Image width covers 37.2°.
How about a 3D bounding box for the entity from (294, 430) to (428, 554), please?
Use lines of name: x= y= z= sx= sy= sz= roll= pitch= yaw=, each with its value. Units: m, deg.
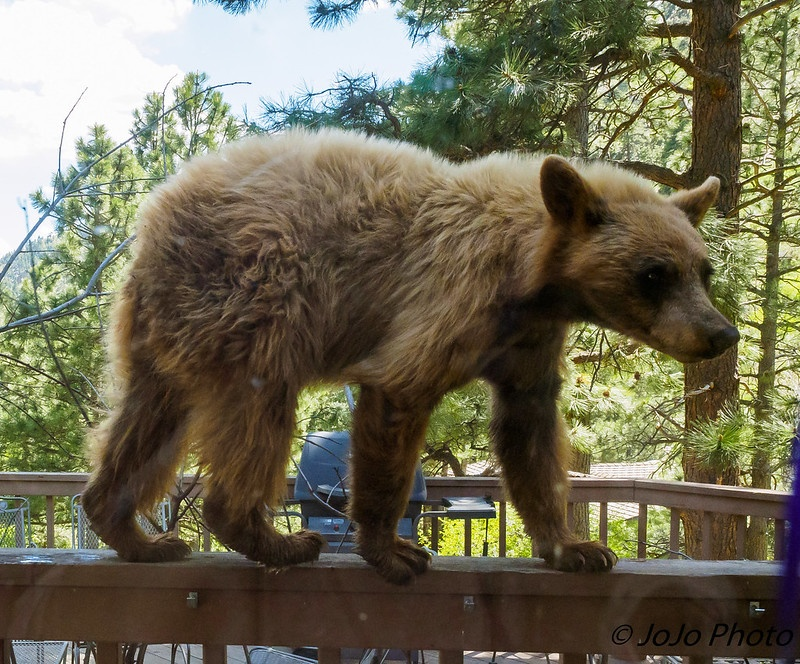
entity: x=-0.223 y=0.781 z=5.749 sx=0.642 sy=0.596 sz=0.656 roll=1 pitch=-7 yaw=-2
